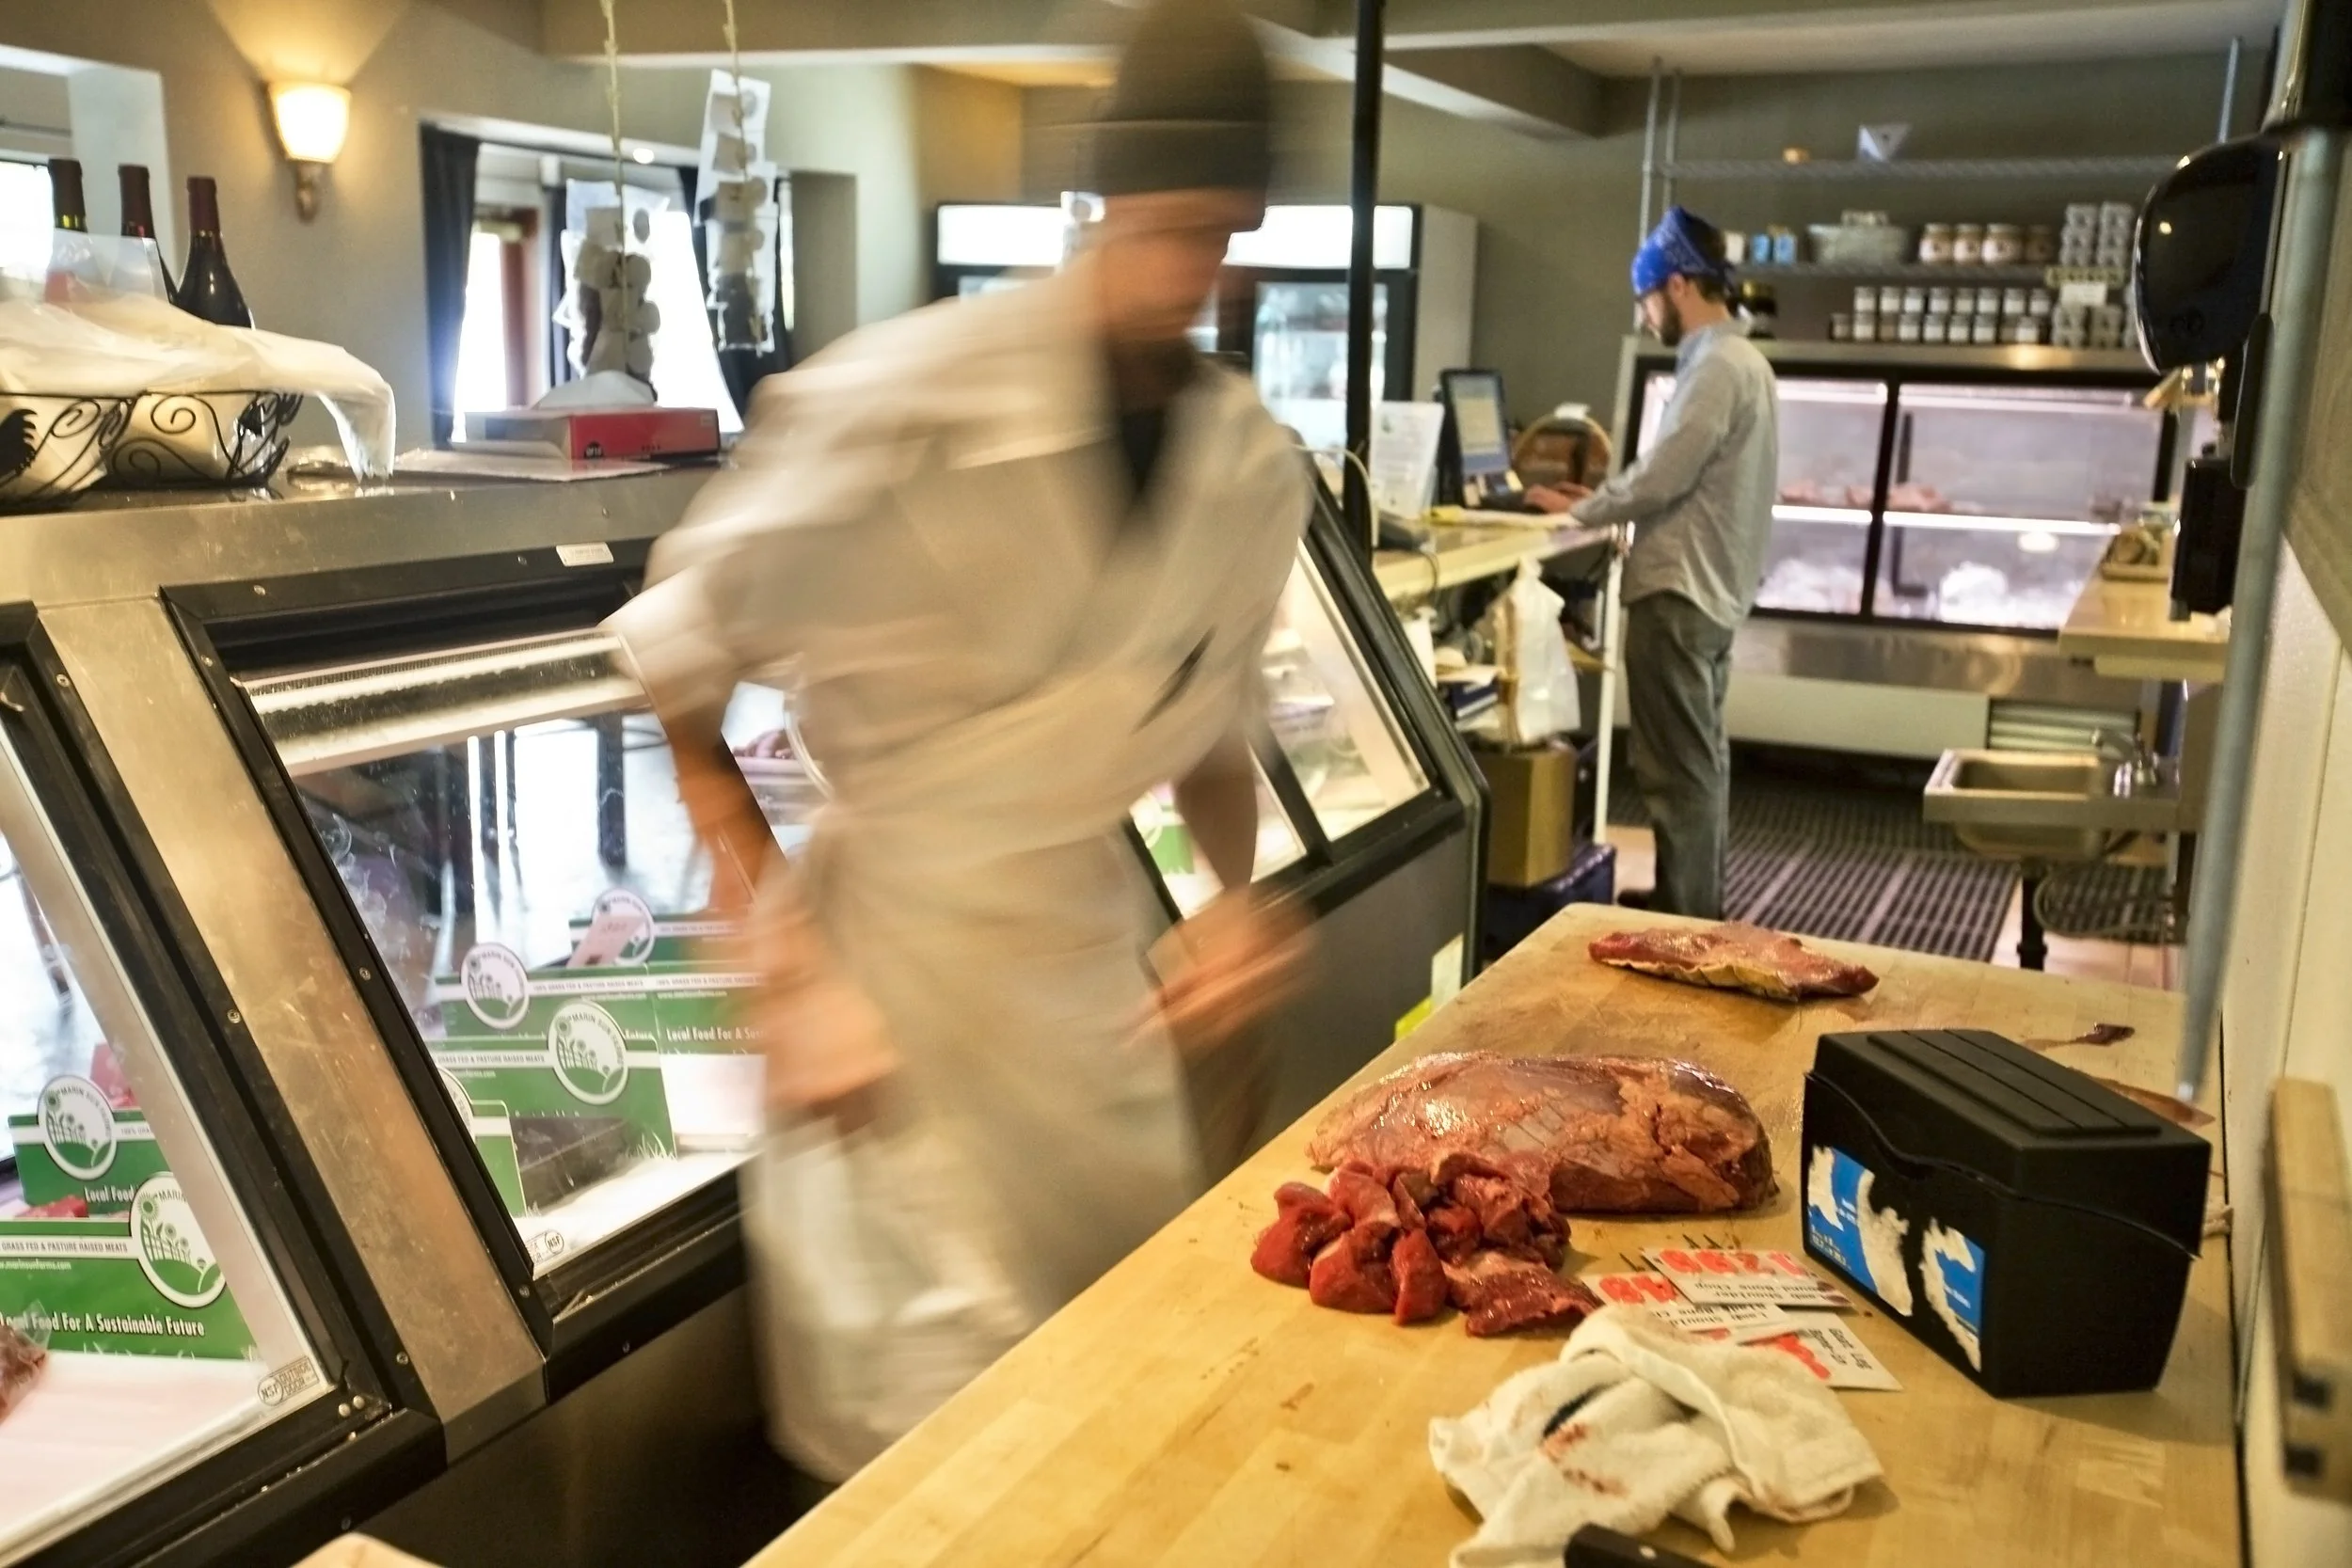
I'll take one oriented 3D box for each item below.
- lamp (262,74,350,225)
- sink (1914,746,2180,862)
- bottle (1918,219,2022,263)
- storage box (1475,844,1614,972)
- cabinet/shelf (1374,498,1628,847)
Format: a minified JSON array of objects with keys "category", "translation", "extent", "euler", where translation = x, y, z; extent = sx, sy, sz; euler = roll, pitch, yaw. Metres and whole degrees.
[{"category":"lamp","translation":[-3.396,-2.495,6.363],"extent":[0.140,0.509,0.260],"euler":[6,20,27]},{"category":"sink","translation":[2.130,0.061,3.928],"extent":[0.486,0.176,0.423],"euler":[5,17,28]},{"category":"bottle","translation":[3.791,-2.573,7.726],"extent":[0.314,0.176,0.317],"euler":[0,13,0]},{"category":"storage box","translation":[1.154,0.332,4.793],"extent":[0.417,0.260,0.414],"euler":[-1,2,-30]},{"category":"cabinet/shelf","translation":[0.877,-0.338,4.413],"extent":[0.666,0.888,0.915],"euler":[10,20,29]}]
